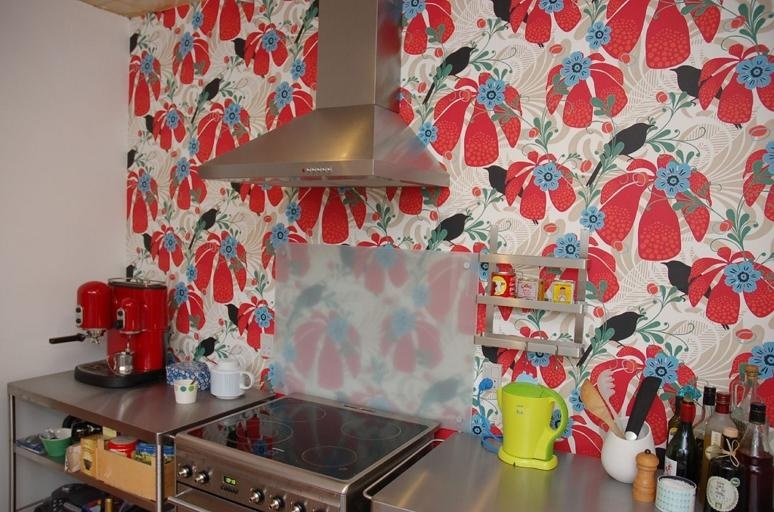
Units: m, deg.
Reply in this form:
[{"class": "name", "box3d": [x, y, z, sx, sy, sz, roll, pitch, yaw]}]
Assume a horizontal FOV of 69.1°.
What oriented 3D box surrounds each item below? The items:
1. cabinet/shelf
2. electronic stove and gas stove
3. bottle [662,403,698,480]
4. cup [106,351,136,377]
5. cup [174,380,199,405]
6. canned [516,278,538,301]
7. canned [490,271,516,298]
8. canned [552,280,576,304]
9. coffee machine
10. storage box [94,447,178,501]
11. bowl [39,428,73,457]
[{"class": "cabinet/shelf", "box3d": [-1.321, 0.513, 3.030, 1.107, 1.038, 0.783, 6, 6, 29]}, {"class": "electronic stove and gas stove", "box3d": [-0.345, 0.809, 2.563, 0.993, 0.169, 0.602, 1, -2, 23]}, {"class": "bottle", "box3d": [1.171, 0.712, 2.221, 0.120, 0.290, 0.214, 1, -1, 30]}, {"class": "cup", "box3d": [-1.472, 0.591, 3.095, 0.149, 0.129, 0.096, 0, 0, -6]}, {"class": "cup", "box3d": [-1.039, 0.691, 2.880, 0.120, 0.090, 0.109, 1, 4, 0]}, {"class": "canned", "box3d": [0.618, 0.143, 2.462, 0.093, 0.093, 0.086, 2, 4, 22]}, {"class": "canned", "box3d": [0.514, 0.127, 2.509, 0.101, 0.114, 0.102, 1, 0, 2]}, {"class": "canned", "box3d": [0.772, 0.157, 2.449, 0.092, 0.092, 0.091, 5, -5, 19]}, {"class": "coffee machine", "box3d": [-1.678, 0.413, 3.151, 0.478, 0.695, 0.670, 0, -2, 34]}, {"class": "storage box", "box3d": [-1.239, 1.023, 2.670, 0.314, 0.162, 0.237, 4, 3, 32]}, {"class": "bowl", "box3d": [-1.740, 0.960, 2.942, 0.145, 0.098, 0.146, 0, -10, 0]}]
